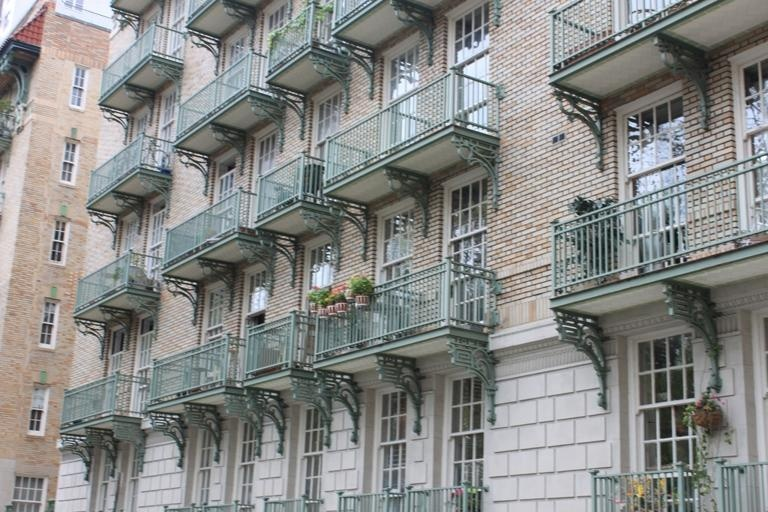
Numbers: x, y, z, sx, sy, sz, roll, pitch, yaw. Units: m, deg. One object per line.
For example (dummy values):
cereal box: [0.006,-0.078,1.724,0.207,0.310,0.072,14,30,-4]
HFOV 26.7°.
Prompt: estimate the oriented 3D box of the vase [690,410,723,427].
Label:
vase: [7.856,3.991,39.600,0.494,0.264,0.485,-8,-13,34]

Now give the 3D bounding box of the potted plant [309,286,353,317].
potted plant: [-1.535,1.285,45.742,1.361,0.662,0.841,8,-19,-35]

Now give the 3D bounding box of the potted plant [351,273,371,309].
potted plant: [-0.635,1.026,45.446,0.846,0.958,0.932,-2,-14,-1]

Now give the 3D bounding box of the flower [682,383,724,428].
flower: [7.895,3.804,39.877,0.822,0.913,0.902,-6,-17,-11]
